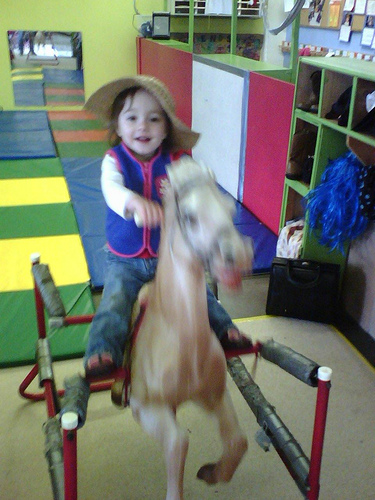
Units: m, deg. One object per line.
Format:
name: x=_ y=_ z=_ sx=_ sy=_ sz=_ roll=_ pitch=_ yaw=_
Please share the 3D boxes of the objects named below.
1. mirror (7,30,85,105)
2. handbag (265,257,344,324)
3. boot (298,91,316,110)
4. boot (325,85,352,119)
mirror: x=-2.069 y=-2.698 z=5.928 sx=1.005 sy=0.992 sz=0.235 roll=-2 pitch=25 yaw=-8
handbag: x=0.571 y=0.200 z=1.927 sx=0.269 sy=0.270 sz=0.114 roll=6 pitch=17 yaw=9
boot: x=0.543 y=-0.707 z=1.877 sx=0.045 sy=0.096 sz=0.098 roll=3 pitch=8 yaw=5
boot: x=0.629 y=-0.606 z=1.655 sx=0.050 sy=0.068 sz=0.168 roll=20 pitch=-5 yaw=1
